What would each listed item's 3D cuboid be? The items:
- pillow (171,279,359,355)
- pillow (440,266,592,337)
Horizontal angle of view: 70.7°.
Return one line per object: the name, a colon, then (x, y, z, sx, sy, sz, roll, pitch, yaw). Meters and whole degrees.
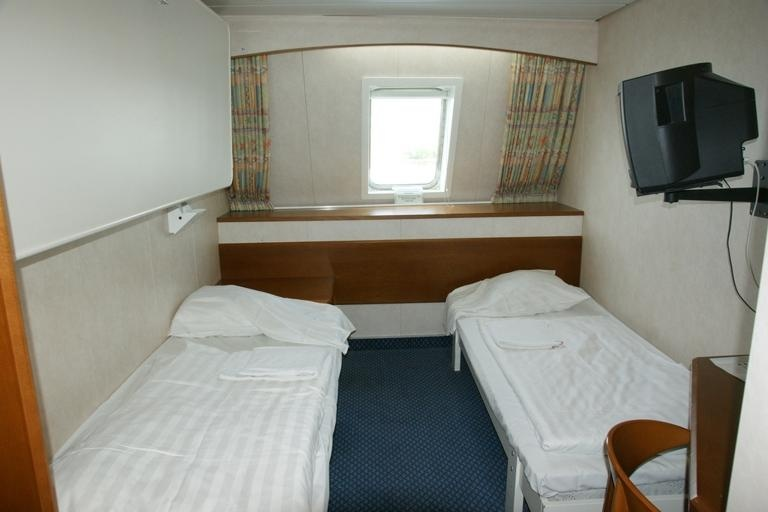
pillow: (-0.952, 0.460, 4.083, 0.952, 0.198, 0.627, 3, 14, -11)
pillow: (1.065, 0.347, 4.630, 0.931, 0.252, 0.629, -4, 12, 5)
